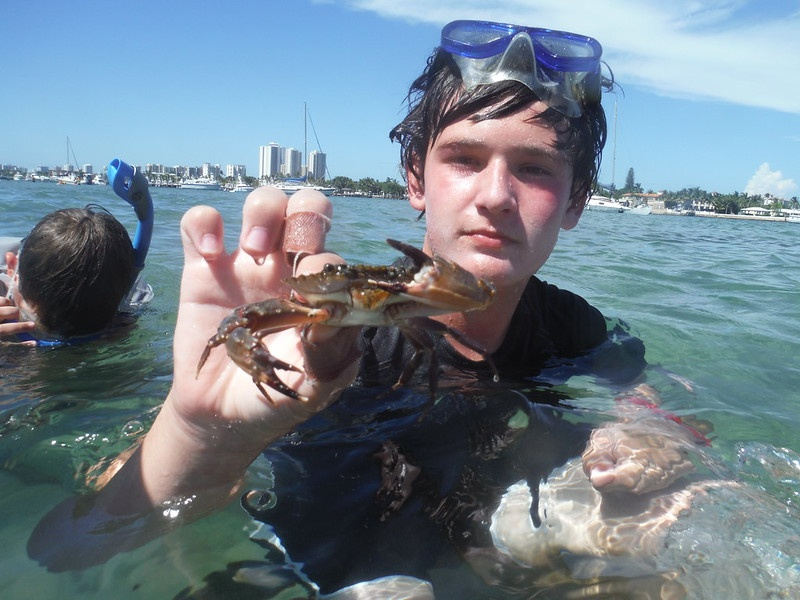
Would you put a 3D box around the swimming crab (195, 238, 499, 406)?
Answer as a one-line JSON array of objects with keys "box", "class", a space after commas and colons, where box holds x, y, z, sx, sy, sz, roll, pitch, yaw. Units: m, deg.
[{"box": [-0.246, 0.101, 2.731, 1.391, 0.805, 0.360, 2, 17, -8], "class": "swimming crab"}]
